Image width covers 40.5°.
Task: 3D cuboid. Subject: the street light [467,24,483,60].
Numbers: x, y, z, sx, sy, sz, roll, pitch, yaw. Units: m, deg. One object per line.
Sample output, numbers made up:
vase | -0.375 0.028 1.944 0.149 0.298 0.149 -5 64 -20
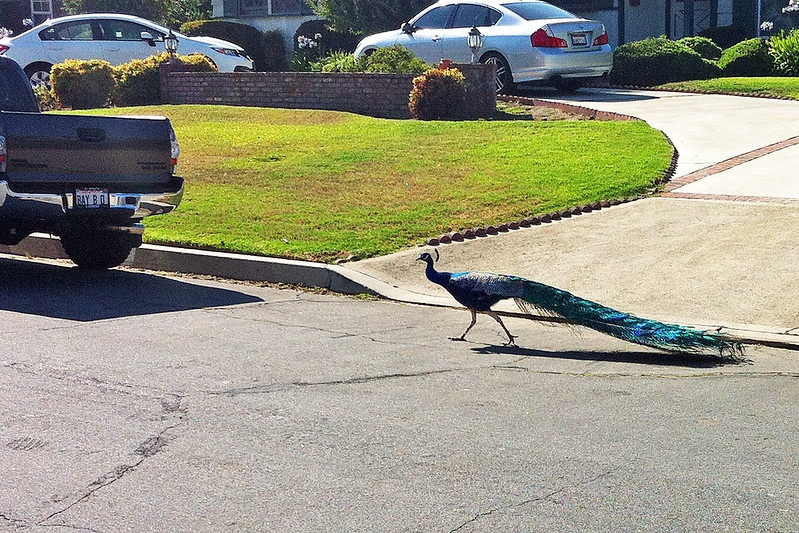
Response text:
street light | 1.535 -4.496 22.021 0.428 0.642 0.326 0 15 2

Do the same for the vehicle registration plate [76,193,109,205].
vehicle registration plate | -3.271 -0.712 11.429 0.356 0.170 0.053 -13 18 -42

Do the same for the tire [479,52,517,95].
tire | 1.897 -4.056 22.773 0.404 0.932 1.093 -11 -2 0
